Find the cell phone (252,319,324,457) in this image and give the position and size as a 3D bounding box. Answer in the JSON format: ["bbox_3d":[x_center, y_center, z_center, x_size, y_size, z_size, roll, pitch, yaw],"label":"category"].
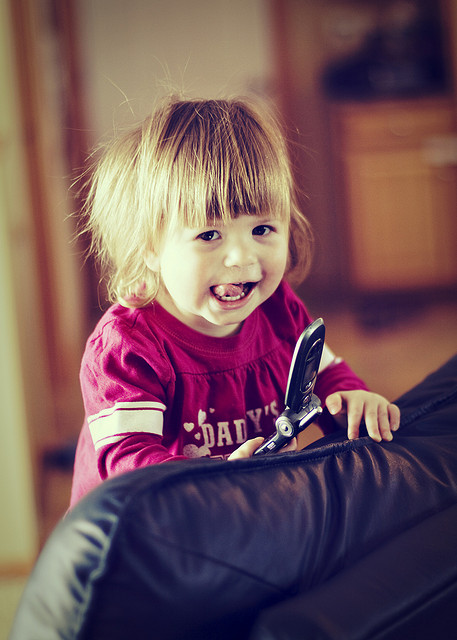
[{"bbox_3d":[0.060,0.086,0.652,0.053,0.207,0.045,20,28,25],"label":"cell phone"}]
